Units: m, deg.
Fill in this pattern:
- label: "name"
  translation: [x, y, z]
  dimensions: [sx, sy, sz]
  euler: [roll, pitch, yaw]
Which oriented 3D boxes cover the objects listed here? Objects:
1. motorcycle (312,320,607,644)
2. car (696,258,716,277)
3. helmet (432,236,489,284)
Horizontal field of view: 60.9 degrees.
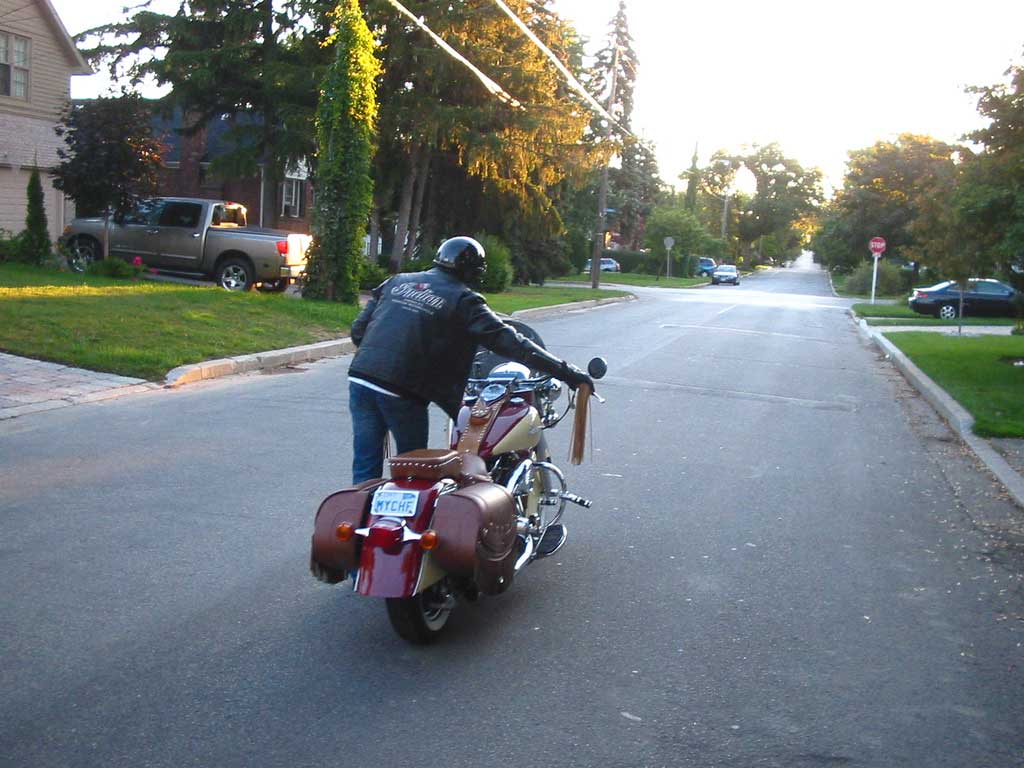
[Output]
- label: "motorcycle"
  translation: [-0.261, 0.623, 5.446]
  dimensions: [1.071, 1.836, 1.856]
  euler: [10, 14, 33]
- label: "car"
  translation: [16.485, -10.025, 74.532]
  dimensions: [1.405, 1.412, 1.587]
  euler: [4, 12, 8]
- label: "helmet"
  translation: [-0.367, -0.825, 5.704]
  dimensions: [0.275, 0.302, 0.353]
  euler: [19, 11, 13]
